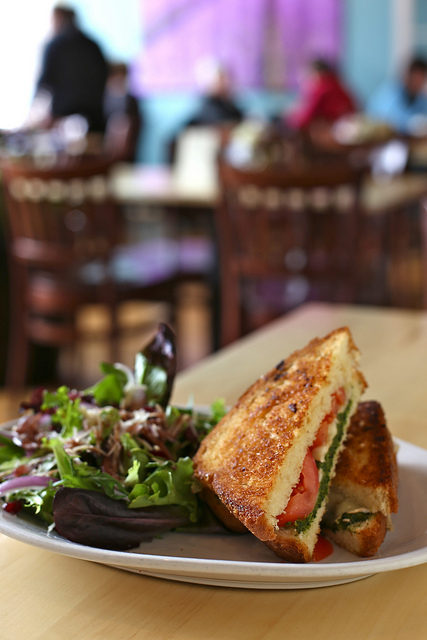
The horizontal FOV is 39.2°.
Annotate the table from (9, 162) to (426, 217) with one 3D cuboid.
[{"bbox_3d":[0.072,-0.652,2.994,2.236,0.259,0.608,-5,12,-29],"label":"table"}]

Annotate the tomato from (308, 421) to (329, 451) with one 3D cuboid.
[{"bbox_3d":[0.166,0.176,0.917,0.011,0.035,0.039,21,-4,19],"label":"tomato"}]

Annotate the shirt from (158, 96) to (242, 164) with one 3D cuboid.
[{"bbox_3d":[-0.073,-1.008,3.172,0.446,0.361,0.229,1,12,0],"label":"shirt"}]

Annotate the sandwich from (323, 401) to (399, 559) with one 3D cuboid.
[{"bbox_3d":[0.227,0.232,0.877,0.077,0.055,0.215,14,34,7],"label":"sandwich"}]

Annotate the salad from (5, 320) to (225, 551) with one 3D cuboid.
[{"bbox_3d":[-0.164,0.212,0.913,0.350,0.120,0.331,1,24,0],"label":"salad"}]

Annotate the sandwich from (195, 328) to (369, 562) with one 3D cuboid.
[{"bbox_3d":[0.094,0.145,0.952,0.355,0.274,0.295,-7,6,-31],"label":"sandwich"}]

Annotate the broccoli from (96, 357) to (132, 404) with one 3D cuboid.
[{"bbox_3d":[-0.189,0.106,1.200,0.035,0.060,0.112,-23,-11,12],"label":"broccoli"}]
